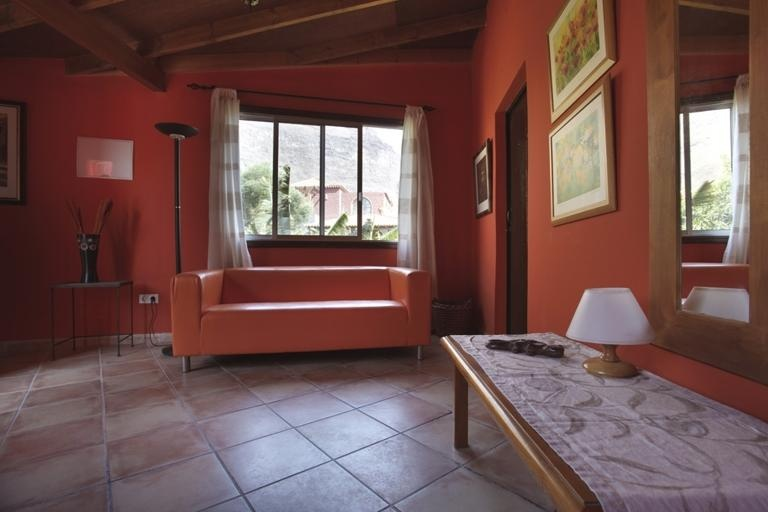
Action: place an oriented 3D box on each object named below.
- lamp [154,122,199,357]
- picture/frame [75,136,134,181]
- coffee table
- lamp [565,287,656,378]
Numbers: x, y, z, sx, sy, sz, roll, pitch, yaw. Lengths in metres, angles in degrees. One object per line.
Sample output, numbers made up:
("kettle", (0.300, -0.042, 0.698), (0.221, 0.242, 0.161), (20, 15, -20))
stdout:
("lamp", (-1.994, -0.150, 5.020), (0.496, 2.165, 0.482), (1, 10, -13))
("picture/frame", (-2.741, -0.953, 5.041), (0.536, 0.459, 0.051), (-11, 38, -45))
("coffee table", (-2.803, 0.603, 4.906), (0.509, 0.641, 0.601), (1, -1, -10))
("lamp", (1.183, 0.391, 2.719), (0.450, 0.434, 0.423), (-4, 1, 9))
